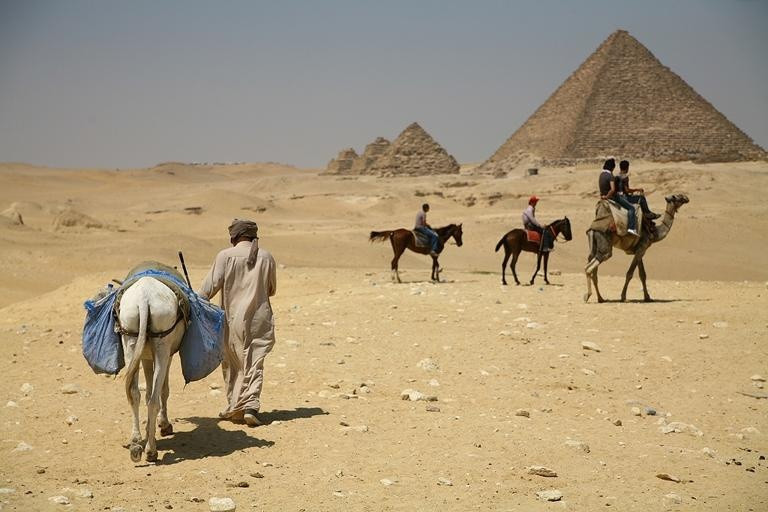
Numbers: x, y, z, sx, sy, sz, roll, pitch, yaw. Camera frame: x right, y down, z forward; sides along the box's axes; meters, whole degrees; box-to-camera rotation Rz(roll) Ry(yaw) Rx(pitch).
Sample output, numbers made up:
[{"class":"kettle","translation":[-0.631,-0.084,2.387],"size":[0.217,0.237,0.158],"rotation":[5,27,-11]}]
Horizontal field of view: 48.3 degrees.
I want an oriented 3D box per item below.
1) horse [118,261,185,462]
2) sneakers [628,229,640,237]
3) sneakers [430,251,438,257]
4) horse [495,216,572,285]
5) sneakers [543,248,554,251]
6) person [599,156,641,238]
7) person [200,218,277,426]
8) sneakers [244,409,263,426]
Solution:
[{"class":"horse","translation":[-2.869,1.154,10.724],"size":[0.886,2.277,3.137],"rotation":[0,-2,-12]},{"class":"sneakers","translation":[4.173,-0.382,14.374],"size":[0.205,0.128,0.066],"rotation":[-7,8,-26]},{"class":"sneakers","translation":[1.117,-0.049,18.706],"size":[0.133,0.104,0.277],"rotation":[-5,6,-7]},{"class":"horse","translation":[3.196,-0.090,17.976],"size":[1.871,1.301,0.480],"rotation":[-1,-8,42]},{"class":"sneakers","translation":[3.450,-0.138,17.798],"size":[0.130,0.076,0.363],"rotation":[1,7,35]},{"class":"person","translation":[3.939,-0.992,14.592],"size":[0.495,1.295,0.715],"rotation":[-6,8,-11]},{"class":"person","translation":[-1.750,0.773,10.442],"size":[0.726,2.383,0.943],"rotation":[-2,8,22]},{"class":"sneakers","translation":[-1.573,1.893,10.163],"size":[0.250,0.204,0.192],"rotation":[-3,7,4]}]
